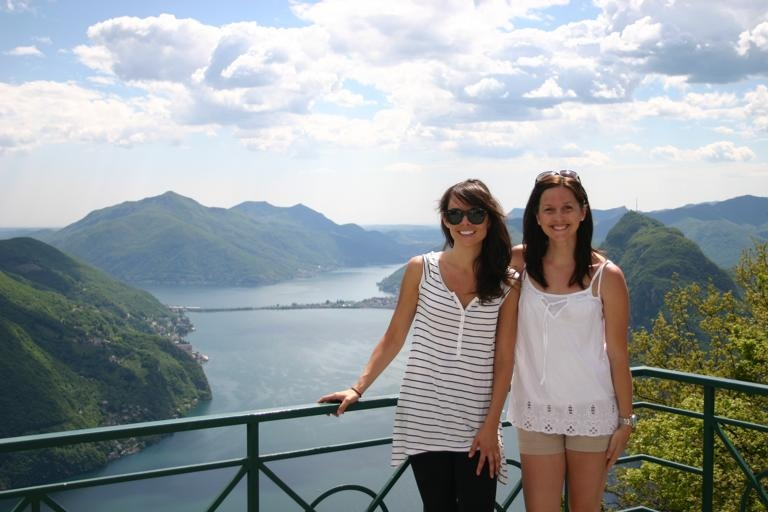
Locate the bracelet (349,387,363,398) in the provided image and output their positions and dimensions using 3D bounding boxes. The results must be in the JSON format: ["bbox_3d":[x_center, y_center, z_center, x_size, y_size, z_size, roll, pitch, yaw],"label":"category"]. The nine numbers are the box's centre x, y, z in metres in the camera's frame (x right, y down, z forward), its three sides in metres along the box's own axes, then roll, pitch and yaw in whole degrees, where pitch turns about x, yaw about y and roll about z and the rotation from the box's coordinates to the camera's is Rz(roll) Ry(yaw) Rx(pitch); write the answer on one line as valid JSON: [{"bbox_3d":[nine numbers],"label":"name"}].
[{"bbox_3d":[-0.156,0.780,3.056,0.069,0.019,0.061,41,-1,-17],"label":"bracelet"}]
